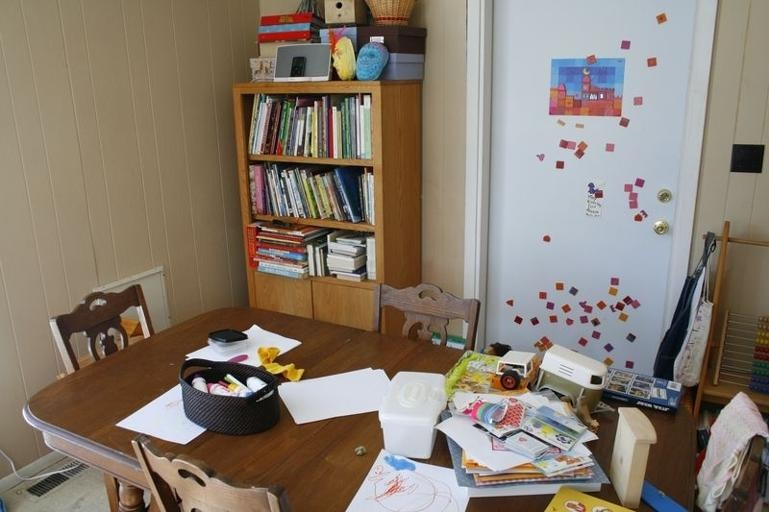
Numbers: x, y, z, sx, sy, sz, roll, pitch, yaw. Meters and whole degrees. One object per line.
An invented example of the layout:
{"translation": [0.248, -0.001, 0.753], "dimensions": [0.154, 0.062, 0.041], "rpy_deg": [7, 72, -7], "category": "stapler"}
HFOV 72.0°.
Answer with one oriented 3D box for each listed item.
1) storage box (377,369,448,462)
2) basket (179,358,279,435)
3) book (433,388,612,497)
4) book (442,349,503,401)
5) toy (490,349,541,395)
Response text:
{"translation": [0.107, 0.564, 1.980], "dimensions": [0.219, 0.185, 0.282], "rpy_deg": [5, 25, 17], "category": "storage box"}
{"translation": [-0.612, 0.571, 2.149], "dimensions": [0.370, 0.142, 0.236], "rpy_deg": [0, 16, 28], "category": "basket"}
{"translation": [0.477, 0.677, 1.877], "dimensions": [0.326, 0.047, 0.325], "rpy_deg": [-4, 33, -4], "category": "book"}
{"translation": [0.365, 0.499, 2.209], "dimensions": [0.154, 0.038, 0.165], "rpy_deg": [7, 24, 33], "category": "book"}
{"translation": [0.556, 0.472, 2.210], "dimensions": [0.109, 0.094, 0.194], "rpy_deg": [8, 23, 27], "category": "toy"}
